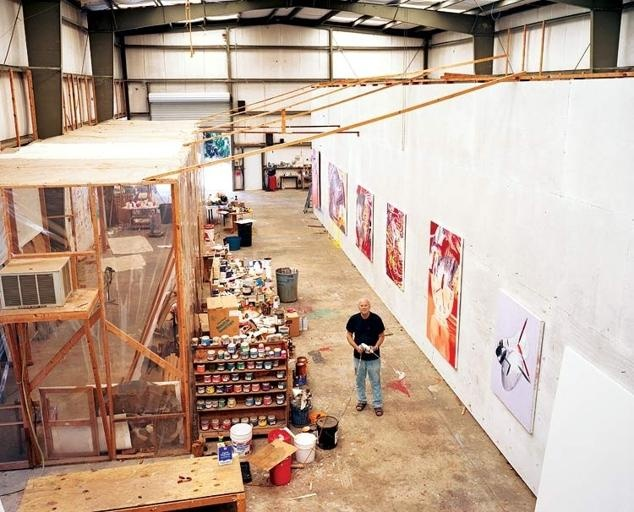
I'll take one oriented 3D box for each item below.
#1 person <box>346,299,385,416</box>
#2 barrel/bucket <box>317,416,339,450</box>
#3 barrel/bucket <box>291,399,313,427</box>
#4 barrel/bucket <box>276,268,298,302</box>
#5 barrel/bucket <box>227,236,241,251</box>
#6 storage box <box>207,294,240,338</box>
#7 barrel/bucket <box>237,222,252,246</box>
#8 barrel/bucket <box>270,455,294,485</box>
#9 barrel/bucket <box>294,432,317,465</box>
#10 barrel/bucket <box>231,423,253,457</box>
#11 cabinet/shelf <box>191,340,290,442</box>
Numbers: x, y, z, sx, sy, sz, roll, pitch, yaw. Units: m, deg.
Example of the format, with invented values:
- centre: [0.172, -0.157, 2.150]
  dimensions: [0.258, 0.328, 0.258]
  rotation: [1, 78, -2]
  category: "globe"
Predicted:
- centre: [0.716, 1.486, 7.166]
  dimensions: [0.494, 1.818, 0.428]
  rotation: [-1, 15, 3]
  category: "person"
- centre: [0.136, 2.446, 6.623]
  dimensions: [0.318, 0.379, 0.342]
  rotation: [0, 14, 0]
  category: "barrel/bucket"
- centre: [-0.191, 2.295, 7.109]
  dimensions: [0.298, 0.395, 0.311]
  rotation: [0, 8, 0]
  category: "barrel/bucket"
- centre: [-0.626, 0.687, 11.101]
  dimensions: [0.417, 0.634, 0.611]
  rotation: [-6, 10, -40]
  category: "barrel/bucket"
- centre: [-2.468, -0.389, 15.202]
  dimensions: [0.383, 0.296, 0.396]
  rotation: [-2, 13, 0]
  category: "barrel/bucket"
- centre: [-1.385, 0.941, 7.668]
  dimensions: [0.444, 0.525, 0.664]
  rotation: [-2, 9, -8]
  category: "storage box"
- centre: [-2.132, -0.706, 15.341]
  dimensions: [0.409, 0.789, 0.300]
  rotation: [-6, 16, -15]
  category: "barrel/bucket"
- centre: [-0.380, 2.668, 6.000]
  dimensions: [0.318, 0.350, 0.180]
  rotation: [-12, 18, -32]
  category: "barrel/bucket"
- centre: [-0.126, 2.550, 6.384]
  dimensions: [0.276, 0.338, 0.271]
  rotation: [-2, 15, 1]
  category: "barrel/bucket"
- centre: [-0.907, 2.400, 6.310]
  dimensions: [0.290, 0.350, 0.314]
  rotation: [-2, 14, 0]
  category: "barrel/bucket"
- centre: [-1.044, 1.949, 6.810]
  dimensions: [1.164, 1.316, 0.477]
  rotation: [-1, 6, -7]
  category: "cabinet/shelf"
